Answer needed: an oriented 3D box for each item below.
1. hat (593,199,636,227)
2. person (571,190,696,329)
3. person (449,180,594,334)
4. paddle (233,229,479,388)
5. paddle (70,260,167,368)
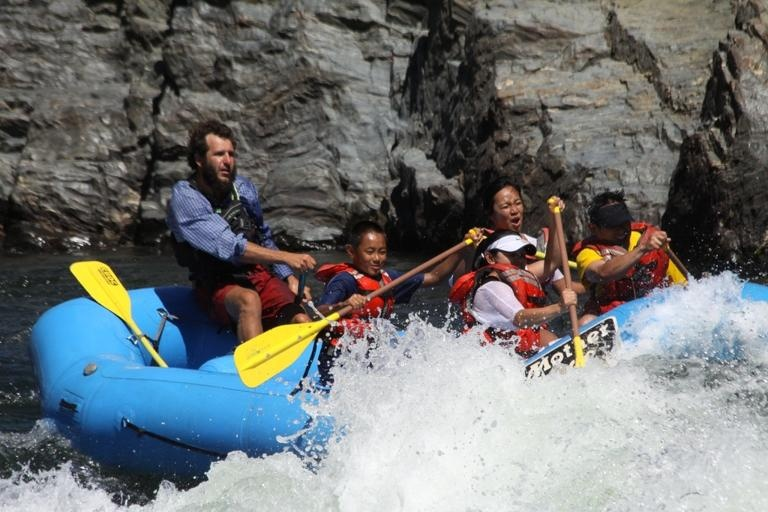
[{"bbox_3d":[1.982,-0.368,7.187,0.206,0.113,0.267,-17,15,-37],"label":"hat"},{"bbox_3d":[2.326,0.054,7.613,1.028,1.172,0.784,-30,22,-12],"label":"person"},{"bbox_3d":[1.227,0.037,7.057,0.832,1.254,0.730,-7,6,15],"label":"person"},{"bbox_3d":[-0.245,0.493,7.255,3.126,0.446,0.215,-26,-12,-10],"label":"paddle"},{"bbox_3d":[-2.329,0.568,7.615,0.392,1.626,0.115,-6,39,20],"label":"paddle"}]
